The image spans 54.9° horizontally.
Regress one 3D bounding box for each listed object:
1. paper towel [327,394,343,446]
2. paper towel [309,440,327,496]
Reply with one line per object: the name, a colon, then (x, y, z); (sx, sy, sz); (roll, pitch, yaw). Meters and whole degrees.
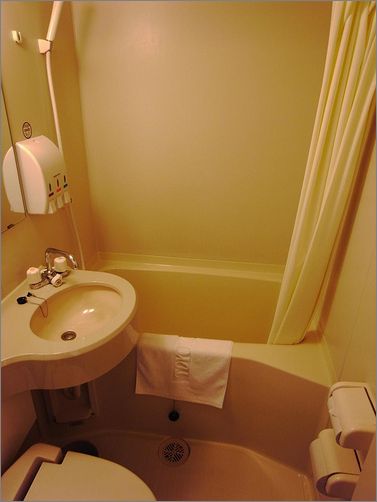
paper towel: (0.250, 0.304, 0.625); (0.011, 0.055, 0.050); (-3, 6, 16)
paper towel: (0.282, 0.465, 0.787); (0.021, 0.104, 0.094); (1, 54, 10)
